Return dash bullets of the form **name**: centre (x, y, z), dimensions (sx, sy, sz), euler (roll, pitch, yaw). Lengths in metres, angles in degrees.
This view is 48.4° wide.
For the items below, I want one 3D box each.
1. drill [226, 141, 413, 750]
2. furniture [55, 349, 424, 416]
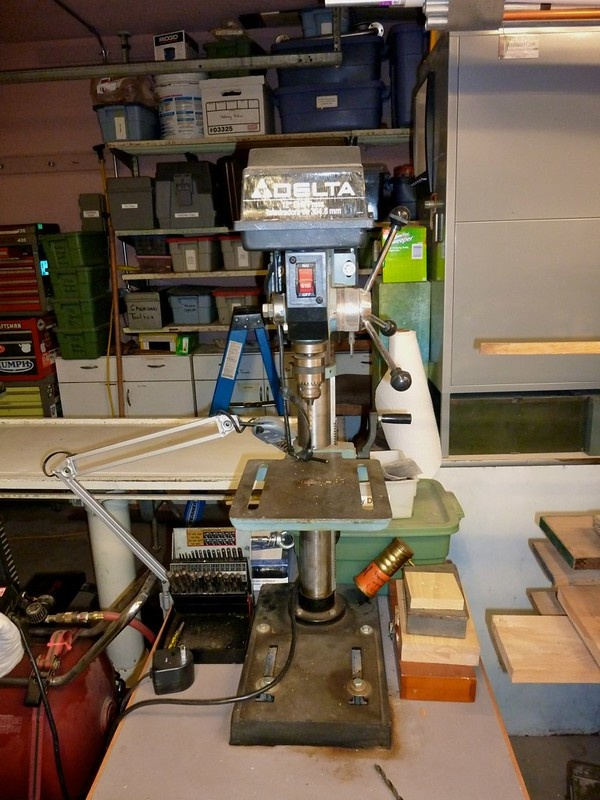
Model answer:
- **drill**: centre (0.013, 0.057, 1.281), dimensions (0.412, 1.038, 0.584), euler (-2, 20, 9)
- **furniture**: centre (-0.816, -0.087, 4.192), dimensions (1.889, 0.461, 0.307), euler (0, 0, 27)
